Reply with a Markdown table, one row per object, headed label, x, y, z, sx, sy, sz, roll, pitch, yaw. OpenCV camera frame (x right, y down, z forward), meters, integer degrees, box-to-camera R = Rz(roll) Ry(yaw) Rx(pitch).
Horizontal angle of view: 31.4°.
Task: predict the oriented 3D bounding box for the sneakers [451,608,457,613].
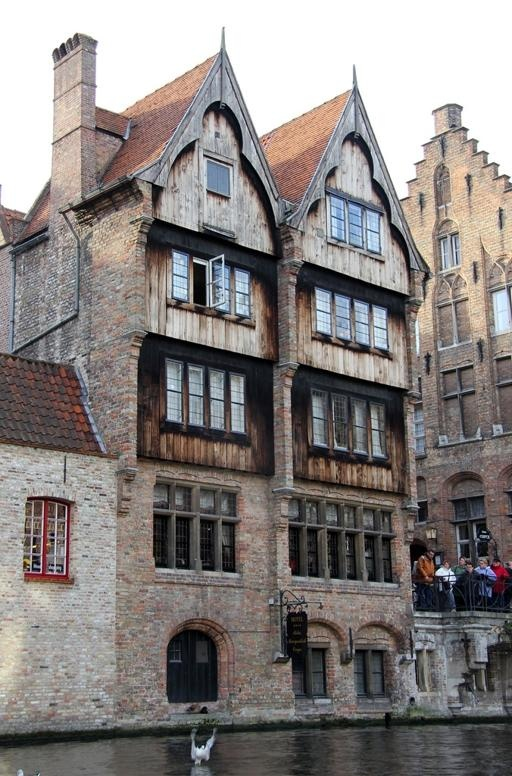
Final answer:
| label | x | y | z | sx | sy | sz | roll | pitch | yaw |
| --- | --- | --- | --- | --- | --- | --- | --- | --- | --- |
| sneakers | 5.915 | 6.670 | 27.395 | 0.143 | 0.161 | 0.256 | -6 | -20 | 11 |
